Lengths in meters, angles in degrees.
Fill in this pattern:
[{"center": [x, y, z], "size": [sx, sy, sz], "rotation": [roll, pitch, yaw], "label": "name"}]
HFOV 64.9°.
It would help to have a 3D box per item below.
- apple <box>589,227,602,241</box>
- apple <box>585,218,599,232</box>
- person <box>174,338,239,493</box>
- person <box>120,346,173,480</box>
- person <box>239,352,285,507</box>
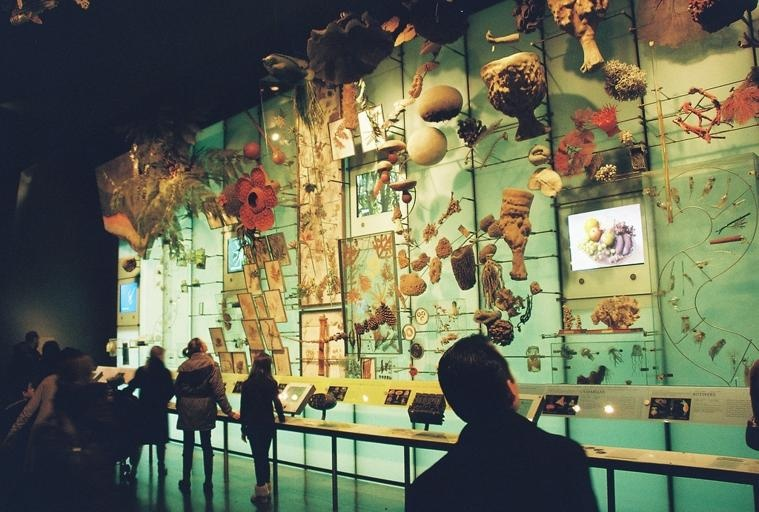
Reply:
[{"center": [2.920, -0.291, 8.125], "size": [0.156, 0.177, 0.152], "rotation": [20, -42, -5], "label": "apple"}, {"center": [2.866, -0.411, 8.210], "size": [0.151, 0.149, 0.182], "rotation": [-29, -7, 3], "label": "apple"}, {"center": [-2.781, 2.523, 9.418], "size": [0.830, 2.410, 0.995], "rotation": [1, -10, -18], "label": "person"}, {"center": [-3.725, 2.406, 9.787], "size": [0.636, 1.804, 0.876], "rotation": [2, -10, -23], "label": "person"}, {"center": [-1.724, 2.542, 8.773], "size": [0.632, 2.209, 0.684], "rotation": [0, -10, -13], "label": "person"}]
